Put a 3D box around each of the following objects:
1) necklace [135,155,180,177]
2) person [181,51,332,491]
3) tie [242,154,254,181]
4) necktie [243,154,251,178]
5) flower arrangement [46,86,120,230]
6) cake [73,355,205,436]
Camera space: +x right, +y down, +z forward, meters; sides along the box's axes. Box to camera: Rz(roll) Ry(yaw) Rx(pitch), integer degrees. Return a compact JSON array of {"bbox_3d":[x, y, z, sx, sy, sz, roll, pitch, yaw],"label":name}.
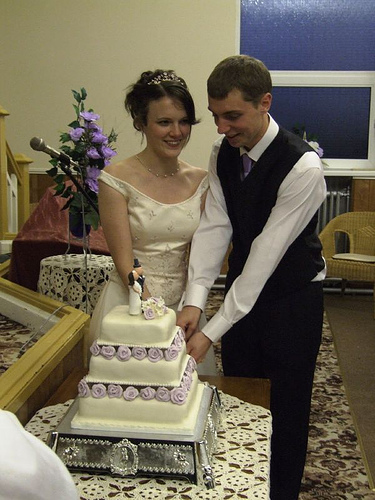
[{"bbox_3d":[-0.152,-0.403,1.965,0.241,0.093,0.198,-6,11,-17],"label":"necklace"},{"bbox_3d":[0.298,0.156,1.723,0.624,1.751,0.539,7,8,-1],"label":"person"},{"bbox_3d":[0.245,-0.339,1.671,0.055,0.101,0.026,13,10,39],"label":"tie"},{"bbox_3d":[0.243,-0.346,1.671,0.035,0.089,0.025,14,10,41],"label":"necktie"},{"bbox_3d":[-0.680,-0.609,2.677,0.537,1.019,0.394,2,9,10],"label":"flower arrangement"},{"bbox_3d":[-0.120,0.343,1.017,0.218,0.104,0.216,2,2,10],"label":"cake"}]
